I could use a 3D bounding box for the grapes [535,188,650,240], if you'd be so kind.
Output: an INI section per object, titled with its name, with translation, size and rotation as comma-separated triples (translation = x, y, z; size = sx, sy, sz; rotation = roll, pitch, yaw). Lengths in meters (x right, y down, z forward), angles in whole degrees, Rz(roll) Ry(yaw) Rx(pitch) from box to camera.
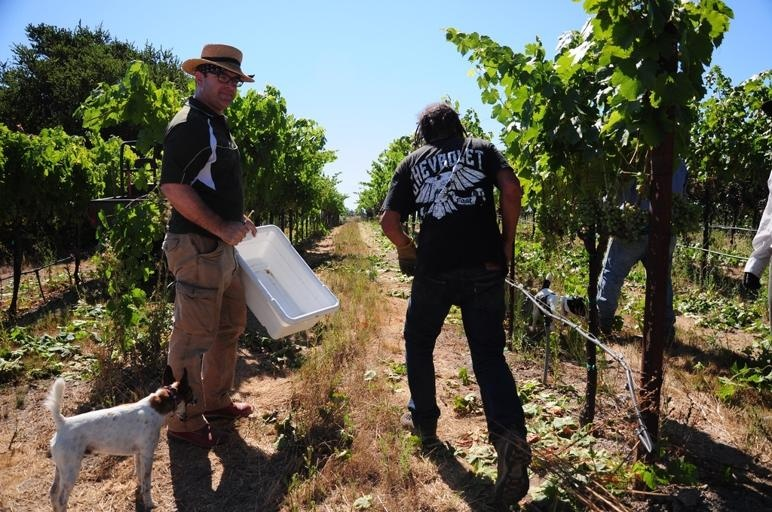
[grapes]
translation = 1.999, -0.381, 5.687
size = 0.582, 0.431, 0.856
rotation = -2, 8, -11
